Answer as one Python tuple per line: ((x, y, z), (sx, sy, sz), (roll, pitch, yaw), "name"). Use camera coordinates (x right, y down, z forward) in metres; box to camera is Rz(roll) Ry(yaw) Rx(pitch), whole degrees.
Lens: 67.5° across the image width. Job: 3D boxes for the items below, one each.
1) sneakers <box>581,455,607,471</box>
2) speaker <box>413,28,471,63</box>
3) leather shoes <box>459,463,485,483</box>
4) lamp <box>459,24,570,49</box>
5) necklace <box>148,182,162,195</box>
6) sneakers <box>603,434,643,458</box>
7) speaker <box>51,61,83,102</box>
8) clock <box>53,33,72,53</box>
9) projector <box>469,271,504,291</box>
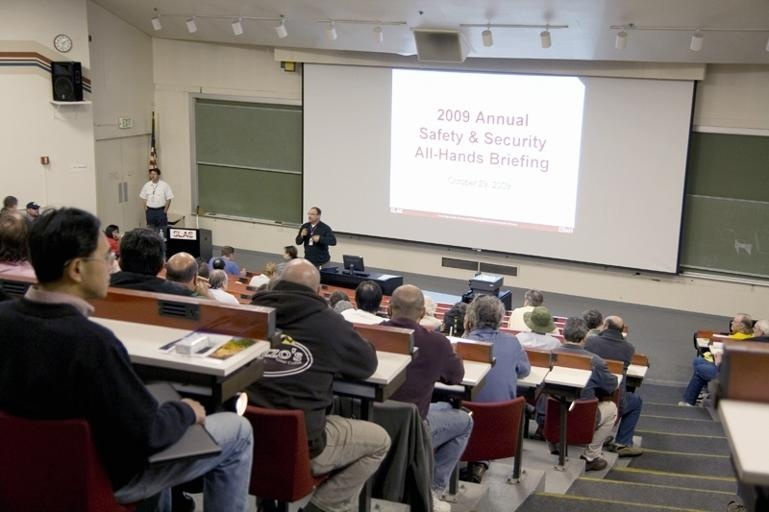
((1.835, 1.807, 5.058), (0.207, 0.148, 0.077), (-11, 15, -16), "sneakers")
((0.951, -3.394, 9.429), (0.971, 0.560, 1.022), (12, 20, 11), "speaker")
((0.639, 1.545, 4.123), (0.160, 0.079, 0.217), (2, 8, 19), "leather shoes")
((1.938, -3.293, 8.654), (1.587, 0.408, 0.681), (6, 6, 20), "lamp")
((-4.589, -1.359, 11.537), (0.141, 0.205, 0.047), (2, -16, -1), "necklace")
((2.401, 1.842, 5.645), (0.450, 0.204, 0.172), (-2, 4, 7), "sneakers")
((-5.737, -3.176, 10.288), (0.495, 0.696, 0.370), (-10, 29, -44), "speaker")
((-5.773, -3.805, 10.268), (0.308, 0.318, 0.032), (-23, 12, -41), "clock")
((1.469, 0.384, 8.375), (0.291, 0.150, 0.449), (6, 10, 25), "projector")
